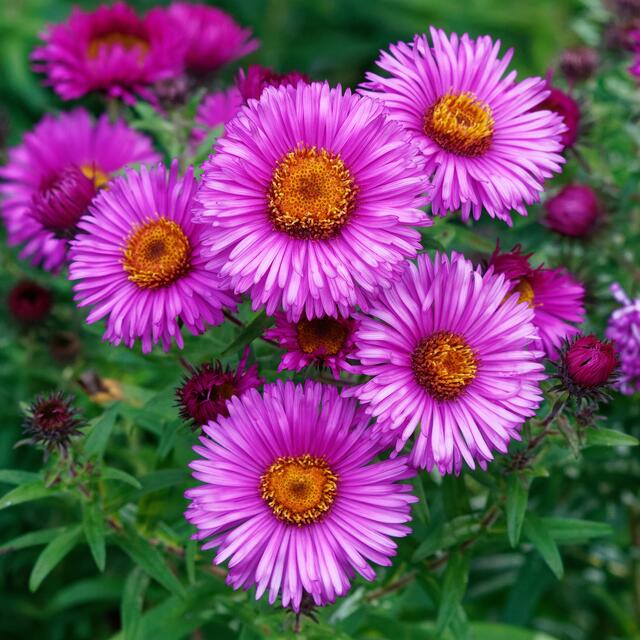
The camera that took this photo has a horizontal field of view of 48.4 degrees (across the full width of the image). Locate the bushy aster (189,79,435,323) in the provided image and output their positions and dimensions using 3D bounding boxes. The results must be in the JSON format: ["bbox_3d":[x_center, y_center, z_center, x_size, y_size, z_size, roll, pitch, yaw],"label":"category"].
[{"bbox_3d":[-0.011,-0.130,0.837,0.280,0.247,0.188,-1,-44,7],"label":"bushy aster"}]

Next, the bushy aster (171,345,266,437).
[{"bbox_3d":[-0.129,0.096,0.908,0.091,0.091,0.045,-40,-40,19],"label":"bushy aster"}]

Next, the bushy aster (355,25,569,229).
[{"bbox_3d":[0.196,-0.227,1.016,0.263,0.298,0.101,13,-24,-22],"label":"bushy aster"}]

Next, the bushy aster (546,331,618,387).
[{"bbox_3d":[0.310,0.052,0.841,0.052,0.066,0.067,5,-8,2],"label":"bushy aster"}]

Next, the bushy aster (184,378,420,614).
[{"bbox_3d":[-0.024,0.213,0.844,0.273,0.212,0.178,12,-44,-6],"label":"bushy aster"}]

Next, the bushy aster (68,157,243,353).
[{"bbox_3d":[-0.222,-0.068,0.905,0.216,0.257,0.068,-11,-16,13],"label":"bushy aster"}]

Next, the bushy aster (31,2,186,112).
[{"bbox_3d":[-0.290,-0.373,0.990,0.169,0.187,0.072,-13,-41,-11],"label":"bushy aster"}]
